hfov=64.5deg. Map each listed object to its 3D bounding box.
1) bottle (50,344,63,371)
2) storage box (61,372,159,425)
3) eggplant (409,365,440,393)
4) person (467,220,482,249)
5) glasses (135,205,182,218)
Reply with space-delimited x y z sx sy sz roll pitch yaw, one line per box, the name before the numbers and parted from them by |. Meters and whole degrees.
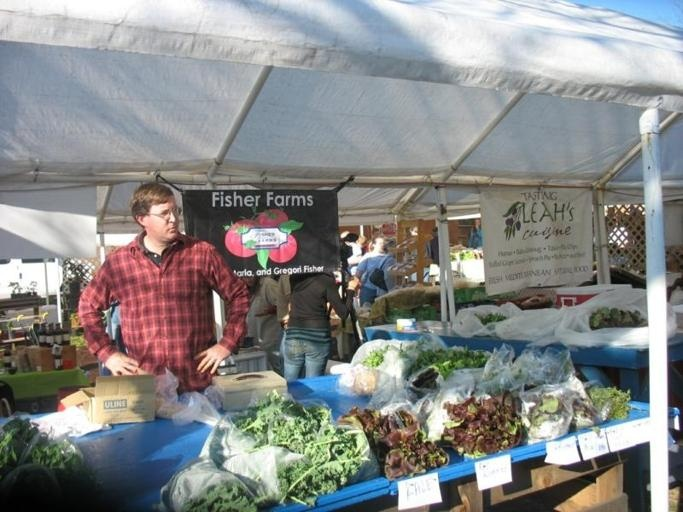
bottle | -3.065 1.084 5.822 0.093 0.258 0.106 -7 7 -4
storage box | -1.298 0.775 3.028 0.449 0.252 0.260 -1 1 -20
eggplant | 0.474 0.711 3.099 0.144 0.052 0.106 -33 28 4
person | 2.447 -0.418 10.041 0.236 0.556 1.678 -5 7 13
glasses | -1.145 -0.275 3.332 0.125 0.038 0.122 -9 -4 29
